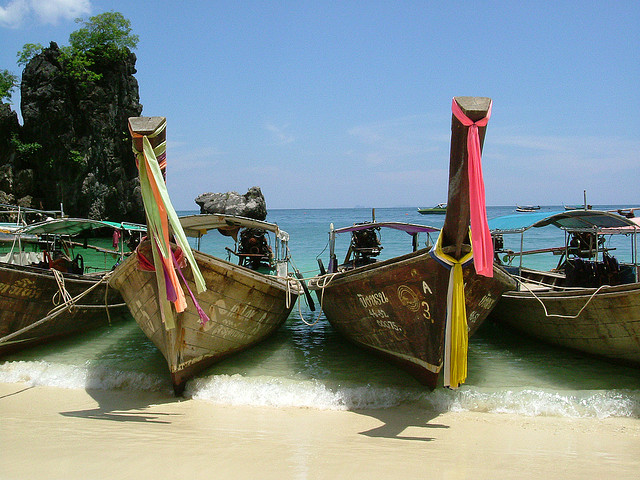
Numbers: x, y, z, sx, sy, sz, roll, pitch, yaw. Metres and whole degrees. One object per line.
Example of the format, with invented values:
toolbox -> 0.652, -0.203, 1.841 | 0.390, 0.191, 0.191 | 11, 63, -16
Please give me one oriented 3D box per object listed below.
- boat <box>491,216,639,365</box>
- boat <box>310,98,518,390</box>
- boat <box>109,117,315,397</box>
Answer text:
boat -> 5.280, 1.146, 12.483 | 1.542, 1.346, 4.033 | -1, 1, -4
boat -> 2.156, 0.857, 12.740 | 3.166, 3.139, 7.574 | 0, -4, -10
boat -> -2.949, 0.687, 13.769 | 5.536, 4.308, 9.319 | -2, -6, -3
